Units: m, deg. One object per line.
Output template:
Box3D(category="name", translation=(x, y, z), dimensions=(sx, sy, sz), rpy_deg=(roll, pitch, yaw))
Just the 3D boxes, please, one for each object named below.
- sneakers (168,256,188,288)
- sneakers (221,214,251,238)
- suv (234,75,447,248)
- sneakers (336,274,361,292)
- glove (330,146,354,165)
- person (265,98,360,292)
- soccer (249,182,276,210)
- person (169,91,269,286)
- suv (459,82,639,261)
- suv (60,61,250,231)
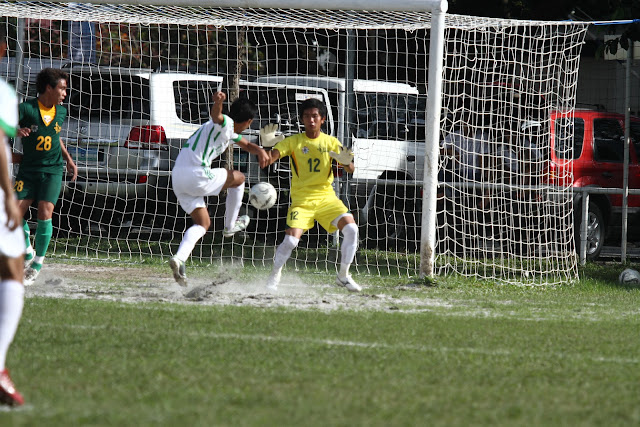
Box3D(category="sneakers", translation=(-1.481, 0.639, 8.748), dimensions=(0.129, 0.345, 0.151), rpy_deg=(-24, 11, 6))
Box3D(category="sneakers", translation=(-0.949, 0.151, 9.656), dimensions=(0.418, 0.165, 0.176), rpy_deg=(-38, 1, -15))
Box3D(category="suv", translation=(-0.011, -0.833, 12.152), dimensions=(3.152, 1.815, 1.829), rpy_deg=(-1, 3, -14))
Box3D(category="sneakers", translation=(0.327, 0.780, 9.311), dimensions=(0.316, 0.140, 0.128), rpy_deg=(18, 29, 33))
Box3D(category="glove", translation=(0.233, -0.630, 9.237), dimensions=(0.244, 0.216, 0.171), rpy_deg=(2, 9, 1))
Box3D(category="person", translation=(-0.046, -0.205, 9.182), dimensions=(1.049, 2.091, 0.506), rpy_deg=(1, 9, -5))
Box3D(category="soccer", translation=(-0.667, -0.196, 9.671), dimensions=(0.348, 0.296, 0.299), rpy_deg=(-1, -10, -14))
Box3D(category="person", translation=(-1.158, -0.415, 9.084), dimensions=(0.954, 1.814, 0.820), rpy_deg=(0, 9, -17))
Box3D(category="suv", translation=(3.611, -0.522, 12.343), dimensions=(3.368, 1.809, 1.877), rpy_deg=(-7, 7, -32))
Box3D(category="suv", translation=(-2.191, -1.114, 11.501), dimensions=(1.420, 1.305, 2.443), rpy_deg=(3, 9, 32))
